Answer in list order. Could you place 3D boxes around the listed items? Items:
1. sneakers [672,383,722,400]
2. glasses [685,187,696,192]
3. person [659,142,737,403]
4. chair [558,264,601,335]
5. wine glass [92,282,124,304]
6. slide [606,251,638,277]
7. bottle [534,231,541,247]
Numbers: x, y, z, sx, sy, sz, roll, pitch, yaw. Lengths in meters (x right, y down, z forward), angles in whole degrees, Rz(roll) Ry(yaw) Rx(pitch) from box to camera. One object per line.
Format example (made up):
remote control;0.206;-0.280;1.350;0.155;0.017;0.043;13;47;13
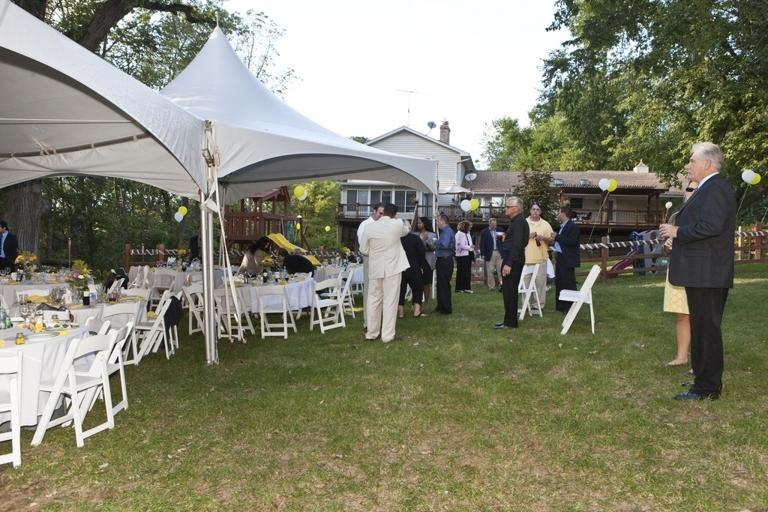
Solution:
sneakers;4.033;1.803;8.440;0.654;0.291;0.251;2;-5;12
glasses;4.101;-0.888;8.615;0.097;0.030;0.100;1;3;23
person;4.057;0.201;8.280;0.812;3.299;0.474;0;3;24
chair;3.493;0.776;11.544;0.764;1.272;0.704;-1;1;14
wine glass;-4.438;0.643;10.367;0.380;0.370;0.392;0;-7;-1
slide;7.585;0.302;20.497;0.761;0.798;2.664;0;3;24
bottle;3.056;-0.323;12.830;0.062;0.216;0.153;3;-2;0
